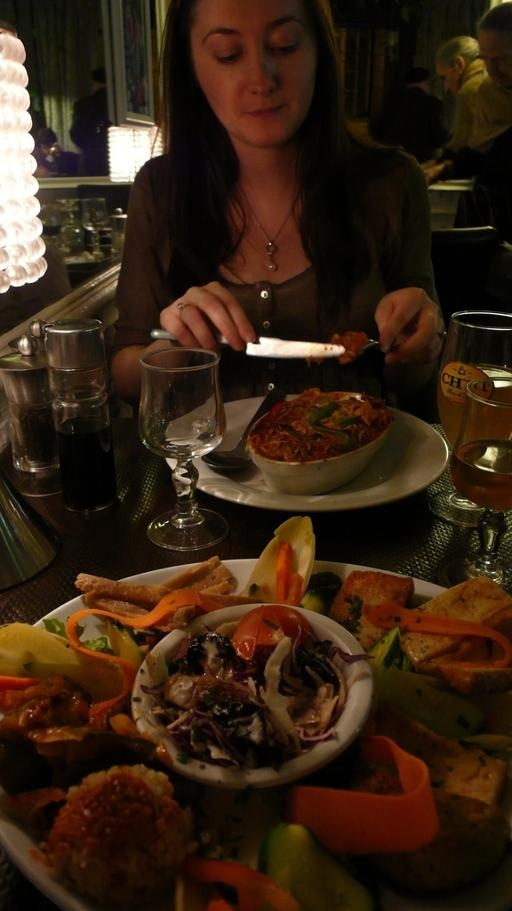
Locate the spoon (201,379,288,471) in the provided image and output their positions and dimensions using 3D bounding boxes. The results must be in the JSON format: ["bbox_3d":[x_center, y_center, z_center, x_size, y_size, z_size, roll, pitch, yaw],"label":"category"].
[{"bbox_3d":[-0.006,-0.047,0.990,0.054,0.035,0.240,1,42,25],"label":"spoon"}]

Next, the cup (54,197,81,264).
[{"bbox_3d":[-0.595,-0.722,2.098,0.074,0.211,0.077,-2,6,0],"label":"cup"}]

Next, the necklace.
[{"bbox_3d":[0.035,-0.563,1.564,0.196,0.283,0.022,-1,-1,1],"label":"necklace"}]

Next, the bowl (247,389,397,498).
[{"bbox_3d":[0.088,-0.021,0.896,0.212,0.081,0.166,-24,35,-35],"label":"bowl"}]

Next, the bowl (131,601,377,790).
[{"bbox_3d":[-0.001,0.141,0.416,0.150,0.038,0.150,0,18,0],"label":"bowl"}]
